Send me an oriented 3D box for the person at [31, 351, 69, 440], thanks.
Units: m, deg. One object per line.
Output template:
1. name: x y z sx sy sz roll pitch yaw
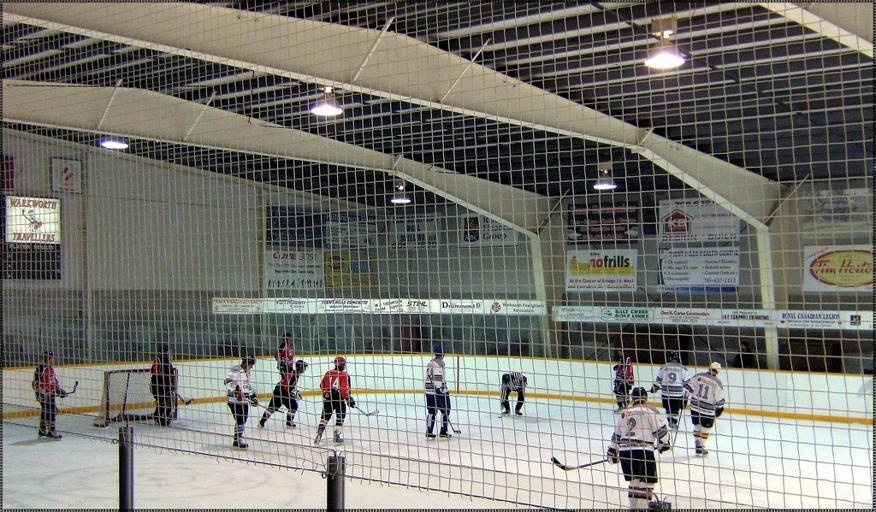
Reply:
1. person: -10.850 3.861 23.293 0.802 2.387 1.009 1 -6 -24

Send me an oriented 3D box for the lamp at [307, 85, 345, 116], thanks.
1. lamp: -2.785 -3.901 21.233 0.981 0.867 0.924 2 -16 -7

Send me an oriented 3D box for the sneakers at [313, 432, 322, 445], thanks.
1. sneakers: -3.208 4.927 22.494 0.235 0.257 0.696 3 -11 -11

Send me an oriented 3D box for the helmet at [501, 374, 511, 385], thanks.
1. helmet: 2.204 3.892 26.496 0.328 0.357 0.406 2 -6 -15

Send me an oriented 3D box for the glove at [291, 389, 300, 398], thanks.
1. glove: -3.983 3.935 24.019 0.230 0.240 0.665 2 -11 -22

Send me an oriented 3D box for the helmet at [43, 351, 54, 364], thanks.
1. helmet: -10.855 2.831 23.299 0.238 0.364 0.608 1 -6 -27

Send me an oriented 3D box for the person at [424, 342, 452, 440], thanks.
1. person: 0.002 3.826 23.808 0.713 2.607 1.143 -2 -6 0

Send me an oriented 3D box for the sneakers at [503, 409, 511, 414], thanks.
1. sneakers: 2.199 4.962 26.655 0.160 0.159 0.407 -3 -15 15
